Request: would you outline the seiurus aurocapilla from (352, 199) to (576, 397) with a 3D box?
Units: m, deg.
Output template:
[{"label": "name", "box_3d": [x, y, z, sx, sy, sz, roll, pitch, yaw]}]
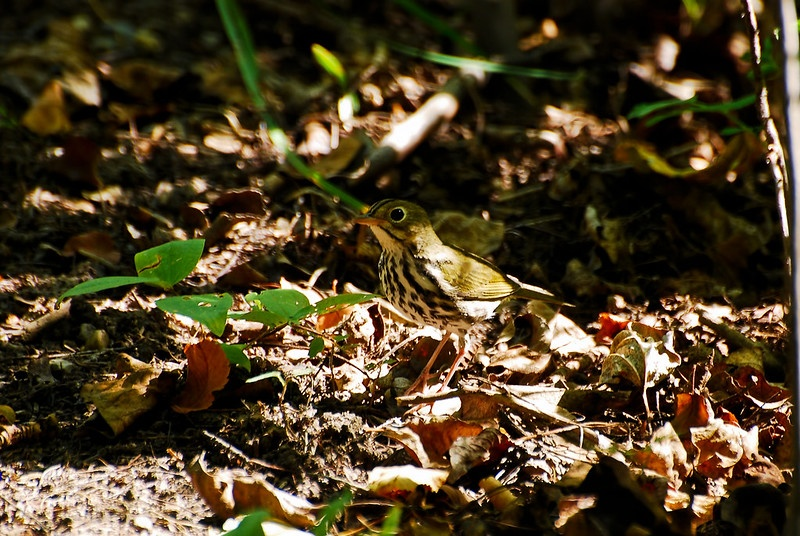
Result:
[{"label": "seiurus aurocapilla", "box_3d": [0.186, 0.039, 4.797, 1.042, 0.286, 0.811, 42, 55, 17]}]
